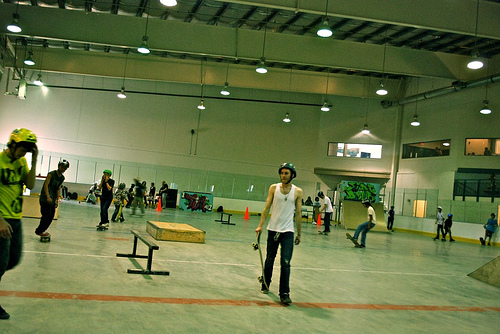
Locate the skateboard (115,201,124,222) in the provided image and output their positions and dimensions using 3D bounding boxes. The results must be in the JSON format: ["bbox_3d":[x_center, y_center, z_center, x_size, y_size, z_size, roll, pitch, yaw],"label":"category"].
[{"bbox_3d":[-5.016,1.683,15.574,0.119,0.970,0.132,37,22,22],"label":"skateboard"}]

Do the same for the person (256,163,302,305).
[{"bbox_3d":[0.653,1.391,8.962,0.895,1.966,0.729,6,3,14],"label":"person"}]

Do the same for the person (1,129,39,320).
[{"bbox_3d":[-4.308,0.987,7.503,0.559,3.391,0.523,3,4,-28],"label":"person"}]

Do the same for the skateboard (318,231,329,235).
[{"bbox_3d":[3.423,3.078,19.024,0.157,0.313,0.459,8,-13,-38],"label":"skateboard"}]

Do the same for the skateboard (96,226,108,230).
[{"bbox_3d":[-4.874,2.012,13.452,0.379,0.130,0.398,3,3,-26],"label":"skateboard"}]

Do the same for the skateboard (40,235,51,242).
[{"bbox_3d":[-5.553,1.916,11.044,0.258,0.146,0.364,3,3,-26],"label":"skateboard"}]

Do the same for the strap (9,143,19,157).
[{"bbox_3d":[-4.257,-0.322,7.317,0.163,0.247,0.019,6,3,13],"label":"strap"}]

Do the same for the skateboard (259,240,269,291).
[{"bbox_3d":[0.317,2.309,9.228,0.143,1.287,0.104,-4,3,39],"label":"skateboard"}]

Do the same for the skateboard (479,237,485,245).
[{"bbox_3d":[12.301,3.905,21.513,0.201,0.348,0.499,6,3,14],"label":"skateboard"}]
